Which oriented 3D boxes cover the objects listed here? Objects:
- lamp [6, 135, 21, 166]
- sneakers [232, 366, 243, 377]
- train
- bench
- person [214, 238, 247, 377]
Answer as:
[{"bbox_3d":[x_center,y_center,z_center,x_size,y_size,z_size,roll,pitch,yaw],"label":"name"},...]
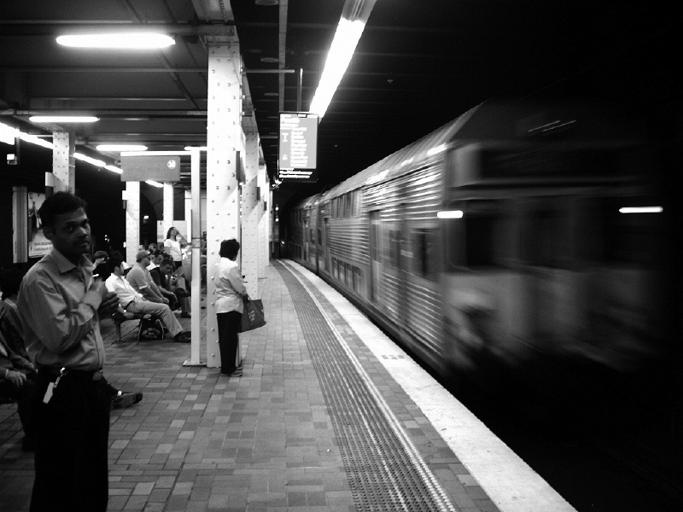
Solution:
[{"bbox_3d":[-8.405,-2.659,13.442,0.253,0.776,3.597,-3,5,-33],"label":"lamp"},{"bbox_3d":[-1.430,1.563,7.159,0.097,0.132,0.326,3,-9,-11],"label":"sneakers"},{"bbox_3d":[1.641,-0.212,6.913,1.331,3.410,5.930,-2,5,-29],"label":"train"},{"bbox_3d":[-3.720,0.835,9.305,1.060,0.959,0.812,-4,14,-27],"label":"bench"},{"bbox_3d":[-1.496,0.693,7.074,0.416,1.826,0.244,1,4,5],"label":"person"}]
